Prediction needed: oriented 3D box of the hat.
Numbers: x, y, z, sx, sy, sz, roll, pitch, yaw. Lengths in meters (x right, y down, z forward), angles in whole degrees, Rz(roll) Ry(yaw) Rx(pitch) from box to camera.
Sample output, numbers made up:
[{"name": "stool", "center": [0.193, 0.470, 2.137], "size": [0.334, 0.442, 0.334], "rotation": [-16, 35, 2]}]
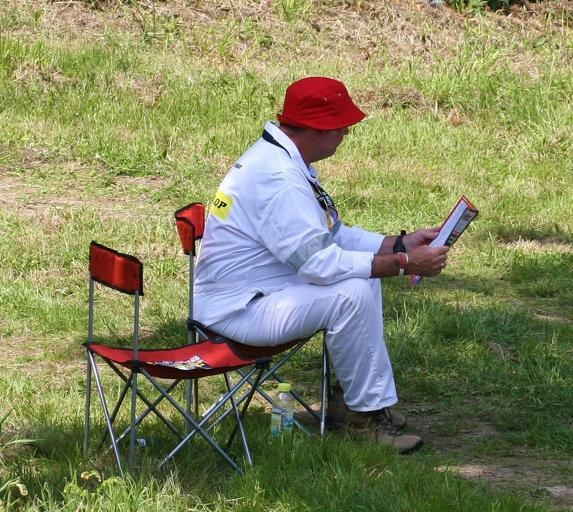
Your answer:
[{"name": "hat", "center": [0.223, -0.963, 7.224], "size": [0.605, 0.288, 0.500], "rotation": [9, 26, 40]}]

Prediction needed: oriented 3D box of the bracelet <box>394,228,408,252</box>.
[{"name": "bracelet", "center": [0.747, -0.100, 7.620], "size": [0.085, 0.135, 0.065], "rotation": [9, -12, 11]}]

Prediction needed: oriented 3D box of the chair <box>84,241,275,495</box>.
[{"name": "chair", "center": [-0.625, 0.658, 6.926], "size": [1.085, 1.414, 0.959], "rotation": [-2, 8, -39]}]

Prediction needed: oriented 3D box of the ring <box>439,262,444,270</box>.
[{"name": "ring", "center": [0.956, 0.065, 7.127], "size": [0.029, 0.039, 0.037], "rotation": [-5, -13, 31]}]
